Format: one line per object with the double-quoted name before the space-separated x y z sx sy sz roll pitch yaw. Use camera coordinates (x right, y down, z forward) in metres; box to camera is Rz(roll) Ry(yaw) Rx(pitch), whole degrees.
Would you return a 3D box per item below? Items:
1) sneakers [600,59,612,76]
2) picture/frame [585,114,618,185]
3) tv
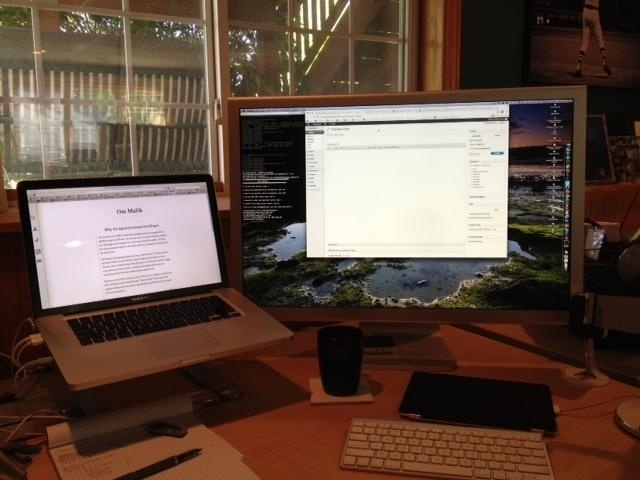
"sneakers" 1.817 -1.091 3.139 0.042 0.126 0.059 -5 11 11
"picture/frame" 1.284 -0.418 2.282 0.212 0.305 0.113 -10 16 -25
"tv" 0.201 -0.035 1.171 0.772 0.482 0.208 0 3 4
